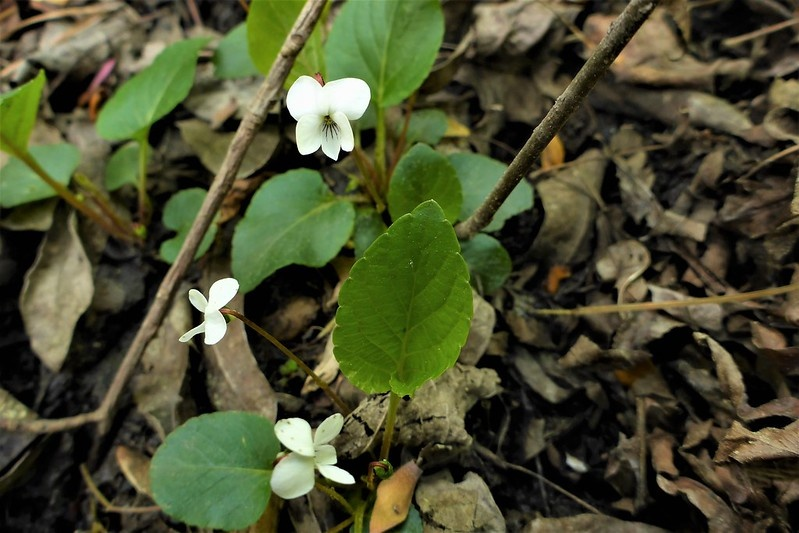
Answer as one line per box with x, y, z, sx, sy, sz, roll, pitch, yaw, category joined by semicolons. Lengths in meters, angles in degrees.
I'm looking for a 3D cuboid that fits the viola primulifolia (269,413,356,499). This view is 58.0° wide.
-0.355;0.739;2.841;0.317;0.179;0.270;-8;61;-4;viola primulifolia

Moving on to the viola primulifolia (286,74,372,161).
-0.277;-0.591;2.843;0.314;0.189;0.245;-2;61;-1;viola primulifolia
